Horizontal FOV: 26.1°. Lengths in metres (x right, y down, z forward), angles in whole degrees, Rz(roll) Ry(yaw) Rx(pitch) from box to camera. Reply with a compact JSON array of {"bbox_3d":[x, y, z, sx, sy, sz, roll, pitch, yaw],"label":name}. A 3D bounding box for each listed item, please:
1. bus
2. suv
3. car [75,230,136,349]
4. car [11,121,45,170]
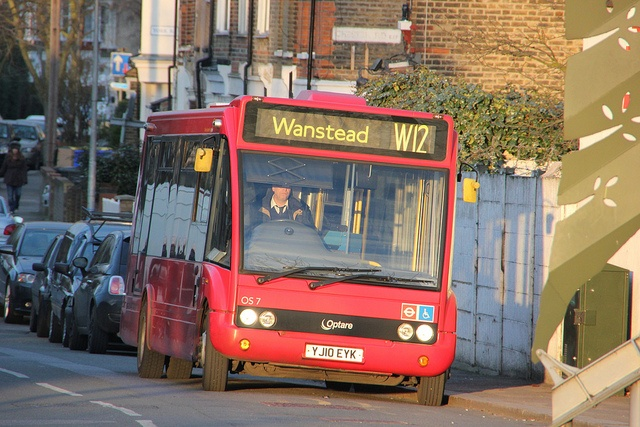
[{"bbox_3d":[-0.368,0.534,20.345,5.026,4.625,2.733,5,6,10],"label":"bus"},{"bbox_3d":[-4.431,1.085,26.871,1.400,1.603,2.489,0,0,-13],"label":"suv"},{"bbox_3d":[-3.908,1.481,24.969,1.179,1.260,2.048,0,3,-16],"label":"car"},{"bbox_3d":[-13.173,-3.154,61.736,1.882,1.730,3.617,0,-2,-3],"label":"car"}]
